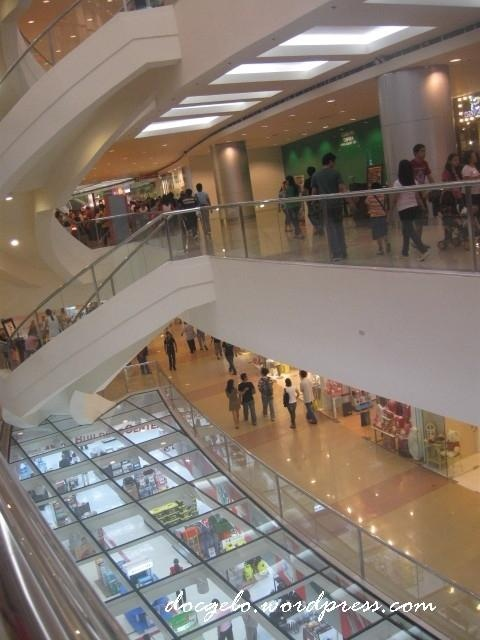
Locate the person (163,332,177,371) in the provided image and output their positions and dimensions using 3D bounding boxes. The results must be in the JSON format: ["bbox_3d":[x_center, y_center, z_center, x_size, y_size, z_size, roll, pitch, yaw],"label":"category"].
[{"bbox_3d":[-2.717,1.171,18.745,0.423,1.357,1.409,-11,11,-10],"label":"person"}]

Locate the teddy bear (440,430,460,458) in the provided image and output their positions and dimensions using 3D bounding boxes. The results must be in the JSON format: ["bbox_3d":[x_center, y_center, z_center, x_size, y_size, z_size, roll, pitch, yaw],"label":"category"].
[{"bbox_3d":[5.048,2.978,11.517,0.480,0.643,0.601,1,6,27],"label":"teddy bear"}]

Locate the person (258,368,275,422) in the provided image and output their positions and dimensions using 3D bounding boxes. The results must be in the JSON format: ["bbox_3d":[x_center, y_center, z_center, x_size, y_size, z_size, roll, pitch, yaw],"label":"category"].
[{"bbox_3d":[0.773,2.113,14.024,0.437,1.546,1.184,-9,11,2],"label":"person"}]

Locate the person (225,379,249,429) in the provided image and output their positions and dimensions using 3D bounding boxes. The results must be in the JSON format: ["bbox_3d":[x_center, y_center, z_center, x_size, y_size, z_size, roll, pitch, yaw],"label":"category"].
[{"bbox_3d":[-0.171,2.288,13.810,0.394,1.417,0.996,-10,11,-5],"label":"person"}]

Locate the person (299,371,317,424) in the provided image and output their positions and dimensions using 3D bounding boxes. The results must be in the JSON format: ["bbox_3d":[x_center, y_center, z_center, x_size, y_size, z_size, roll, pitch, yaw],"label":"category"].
[{"bbox_3d":[1.954,2.207,13.773,0.361,1.509,1.487,-8,11,7],"label":"person"}]
